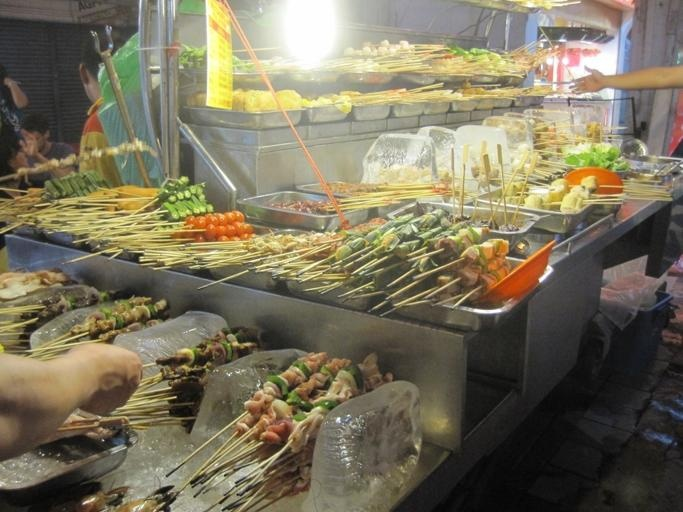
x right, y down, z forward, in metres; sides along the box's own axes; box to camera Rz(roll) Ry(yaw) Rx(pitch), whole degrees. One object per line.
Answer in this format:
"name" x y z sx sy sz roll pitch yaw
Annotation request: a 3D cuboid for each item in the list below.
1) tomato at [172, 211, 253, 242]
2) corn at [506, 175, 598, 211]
"tomato" -0.499 -0.144 2.157 0.346 0.119 0.292 7 10 28
"corn" 1.013 -0.284 2.401 0.302 0.121 0.565 4 15 26
